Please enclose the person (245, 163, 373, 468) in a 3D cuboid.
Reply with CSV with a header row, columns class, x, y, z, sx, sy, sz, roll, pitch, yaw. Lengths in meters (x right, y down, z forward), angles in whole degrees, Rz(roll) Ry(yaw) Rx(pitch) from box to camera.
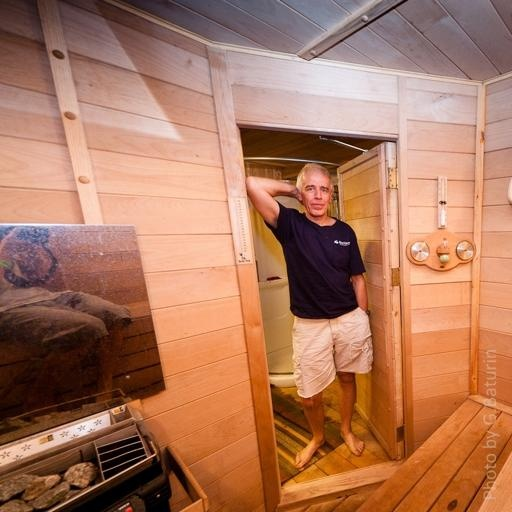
class,x,y,z,sx,sy,sz,roll,pitch,yaw
person,0.379,0.352,2.433,0.612,1.772,0.243,-9,8,-1
